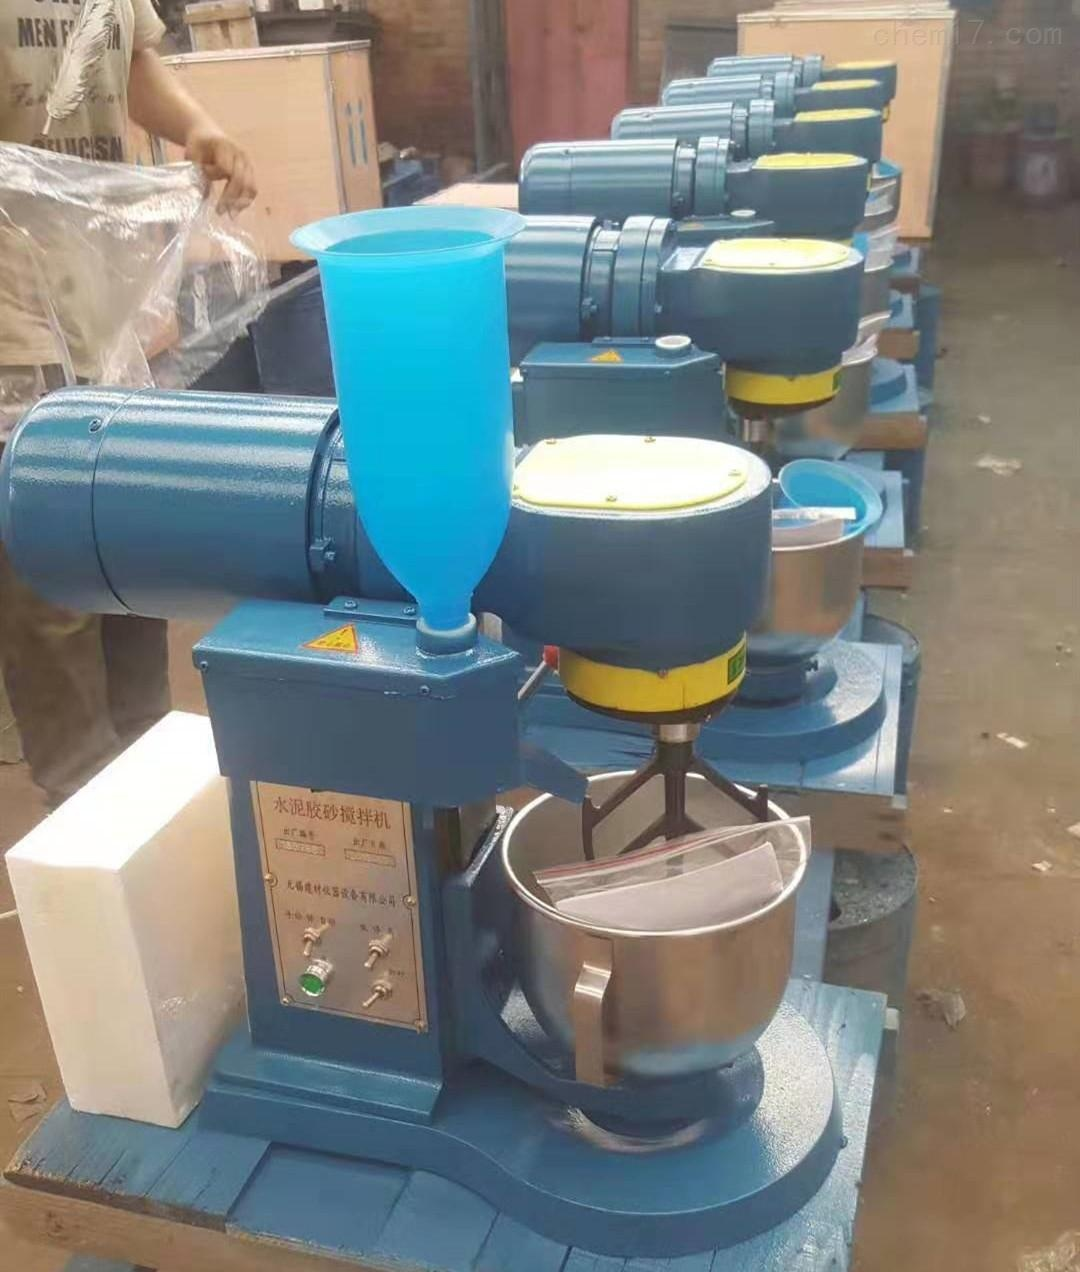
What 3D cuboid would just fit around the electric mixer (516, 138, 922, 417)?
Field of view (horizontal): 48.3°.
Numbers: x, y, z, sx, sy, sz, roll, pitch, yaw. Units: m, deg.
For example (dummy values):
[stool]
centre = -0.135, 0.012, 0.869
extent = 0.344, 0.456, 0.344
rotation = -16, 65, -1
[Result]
[electric mixer]
centre = 0.217, -0.590, 1.860
extent = 0.575, 0.212, 0.564
rotation = 3, 42, 7
